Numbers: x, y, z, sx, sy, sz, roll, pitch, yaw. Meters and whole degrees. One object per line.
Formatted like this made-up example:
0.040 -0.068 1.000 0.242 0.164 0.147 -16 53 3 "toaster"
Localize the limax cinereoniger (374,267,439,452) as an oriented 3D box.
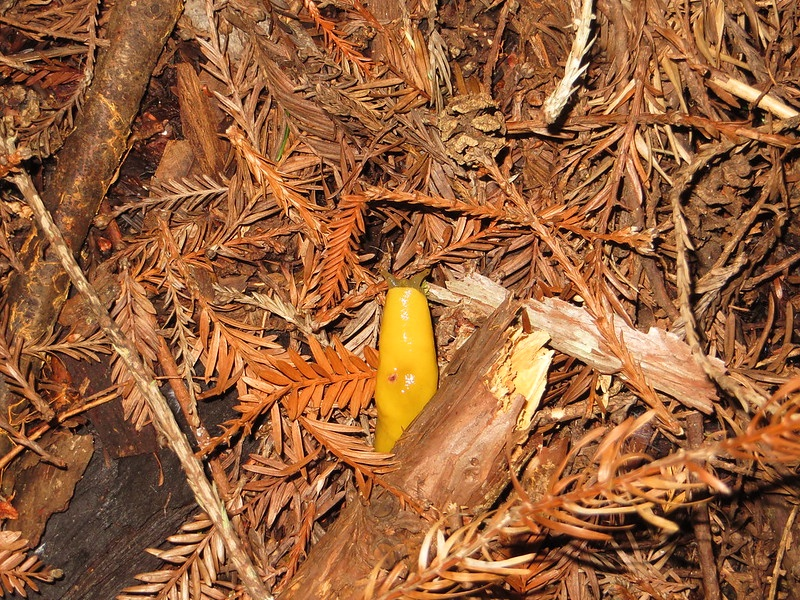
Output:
0.024 0.158 2.200 0.151 0.134 0.519 6 92 3 "limax cinereoniger"
